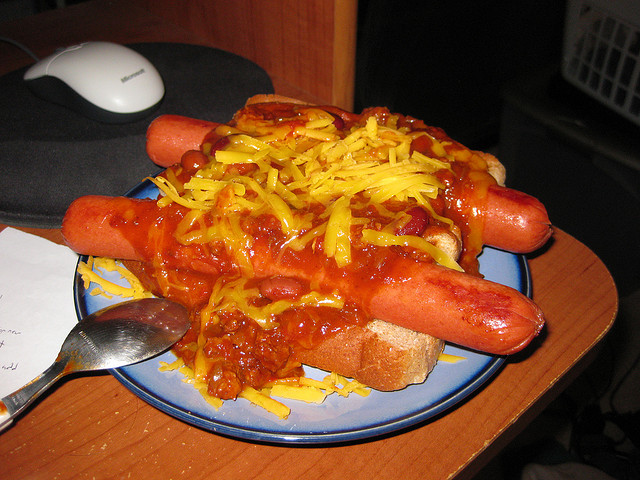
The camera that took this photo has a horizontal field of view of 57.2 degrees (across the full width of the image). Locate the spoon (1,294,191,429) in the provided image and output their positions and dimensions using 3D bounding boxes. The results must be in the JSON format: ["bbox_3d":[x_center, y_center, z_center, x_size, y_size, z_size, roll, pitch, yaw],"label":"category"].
[{"bbox_3d":[-0.579,0.303,1.799,0.696,0.093,0.228,-31,66,-31],"label":"spoon"}]

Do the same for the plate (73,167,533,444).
[{"bbox_3d":[0.027,0.326,1.882,0.803,0.113,0.803,5,41,3],"label":"plate"}]
